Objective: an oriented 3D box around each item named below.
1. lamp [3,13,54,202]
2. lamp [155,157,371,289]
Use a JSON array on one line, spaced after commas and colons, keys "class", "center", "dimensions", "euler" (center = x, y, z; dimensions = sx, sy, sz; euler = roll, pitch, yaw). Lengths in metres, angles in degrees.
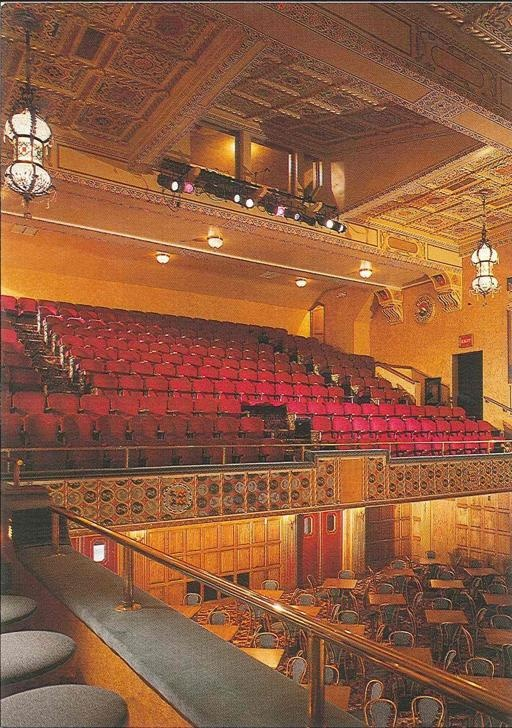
[{"class": "lamp", "center": [-1.660, -1.802, 4.745], "dimensions": [0.327, 1.391, 1.195], "euler": [3, 1, -19]}, {"class": "lamp", "center": [0.153, -1.734, 7.408], "dimensions": [2.695, 0.492, 0.671], "euler": [14, -3, -40]}]
